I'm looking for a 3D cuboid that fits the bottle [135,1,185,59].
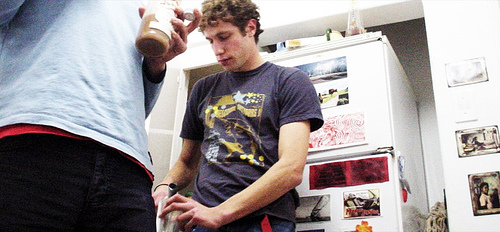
[{"bbox_3d":[-0.415,-0.399,1.658,0.130,0.351,0.096,-4,-53,21],"label":"bottle"}]
